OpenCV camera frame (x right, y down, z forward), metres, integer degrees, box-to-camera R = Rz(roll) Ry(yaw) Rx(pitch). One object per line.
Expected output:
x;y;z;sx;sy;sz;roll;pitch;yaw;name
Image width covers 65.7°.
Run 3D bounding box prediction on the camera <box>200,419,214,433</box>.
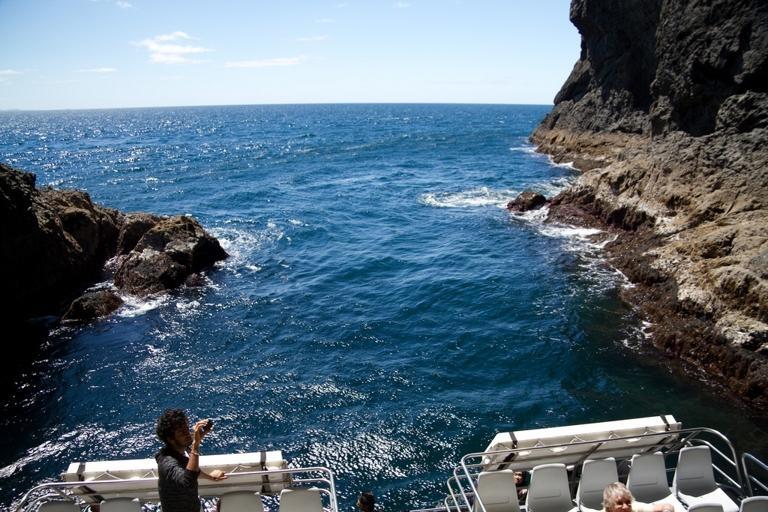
-4.223;4.067;14.272;0.261;0.272;0.156;-21;28;-38;camera
